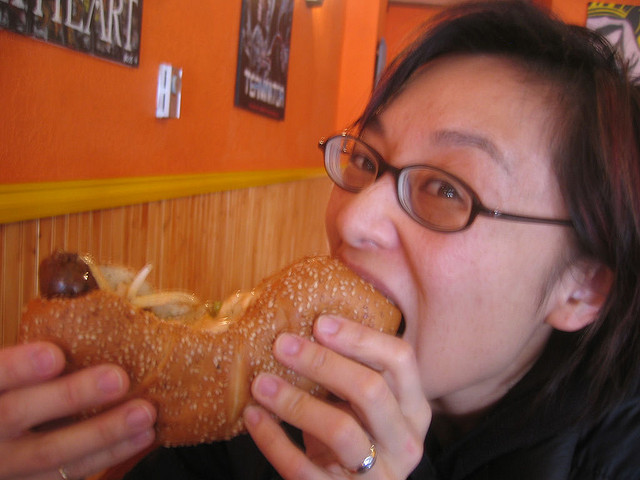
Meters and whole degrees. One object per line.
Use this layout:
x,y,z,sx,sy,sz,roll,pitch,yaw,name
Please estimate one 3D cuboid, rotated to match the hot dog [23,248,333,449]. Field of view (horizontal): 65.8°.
-0.391,0.236,1.150,0.562,0.288,0.608,1,1,-2,hot dog
